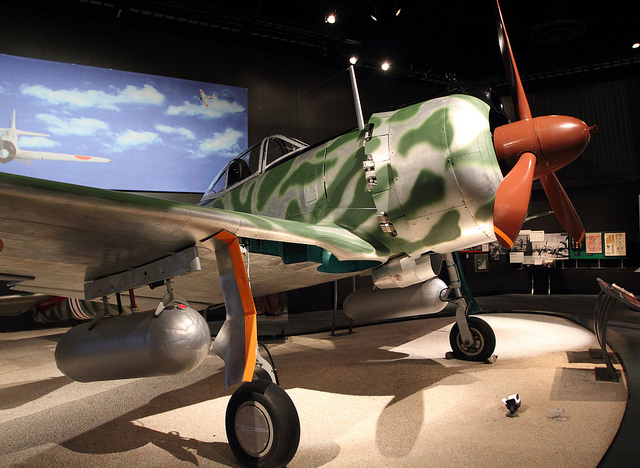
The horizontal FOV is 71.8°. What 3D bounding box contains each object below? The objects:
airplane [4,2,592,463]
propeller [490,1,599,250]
[{"bbox_3d":[-0.372,0.059,4.214,4.537,3.270,2.310,-4,4,-20],"label":"airplane"},{"bbox_3d":[2.086,-1.172,4.123,0.857,2.516,1.342,-1,4,24],"label":"propeller"}]
